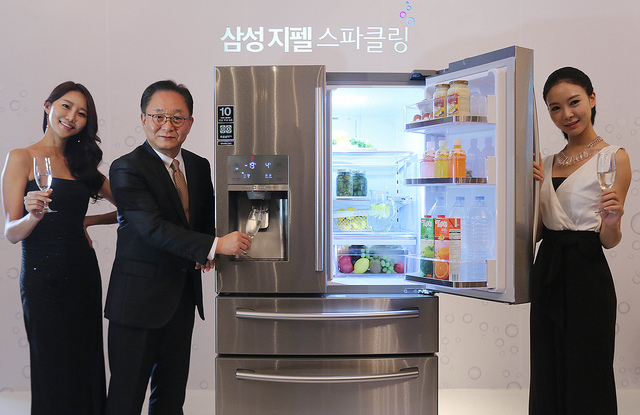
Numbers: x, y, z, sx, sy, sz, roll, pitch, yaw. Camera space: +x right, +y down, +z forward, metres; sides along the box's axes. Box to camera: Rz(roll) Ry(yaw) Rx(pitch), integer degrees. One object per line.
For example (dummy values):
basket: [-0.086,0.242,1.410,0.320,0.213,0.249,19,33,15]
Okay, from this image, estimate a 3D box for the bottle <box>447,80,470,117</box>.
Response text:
bottle: [0.820,-0.650,3.213,0.129,0.227,0.116,1,2,13]

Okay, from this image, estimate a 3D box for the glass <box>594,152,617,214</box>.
glass: [1.677,-0.209,3.168,0.084,0.212,0.149,2,2,40]

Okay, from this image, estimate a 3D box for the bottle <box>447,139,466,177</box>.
bottle: [0.820,-0.293,3.246,0.104,0.224,0.099,1,2,0]

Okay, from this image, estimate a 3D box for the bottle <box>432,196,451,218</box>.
bottle: [0.766,0.002,3.466,0.123,0.225,0.123,-2,-2,0]

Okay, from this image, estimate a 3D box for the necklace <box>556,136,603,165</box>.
necklace: [1.641,-0.357,3.428,0.222,0.045,0.183,-37,12,0]

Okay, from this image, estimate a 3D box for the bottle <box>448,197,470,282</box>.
bottle: [0.863,0.192,3.305,0.124,0.500,0.197,0,2,-4]

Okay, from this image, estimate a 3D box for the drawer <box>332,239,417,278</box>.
drawer: [0.341,0.363,3.816,0.449,0.281,0.606,5,-7,-25]

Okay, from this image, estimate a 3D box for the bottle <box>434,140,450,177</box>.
bottle: [0.742,-0.296,3.309,0.089,0.223,0.104,1,2,11]

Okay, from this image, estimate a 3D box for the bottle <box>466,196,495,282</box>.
bottle: [0.968,0.190,3.300,0.160,0.504,0.094,1,2,12]

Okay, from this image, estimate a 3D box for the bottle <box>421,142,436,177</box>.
bottle: [0.673,-0.296,3.373,0.081,0.216,0.090,1,2,16]

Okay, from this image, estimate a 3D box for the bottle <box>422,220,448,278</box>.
bottle: [0.682,0.251,3.328,0.115,0.353,0.243,0,2,-19]
